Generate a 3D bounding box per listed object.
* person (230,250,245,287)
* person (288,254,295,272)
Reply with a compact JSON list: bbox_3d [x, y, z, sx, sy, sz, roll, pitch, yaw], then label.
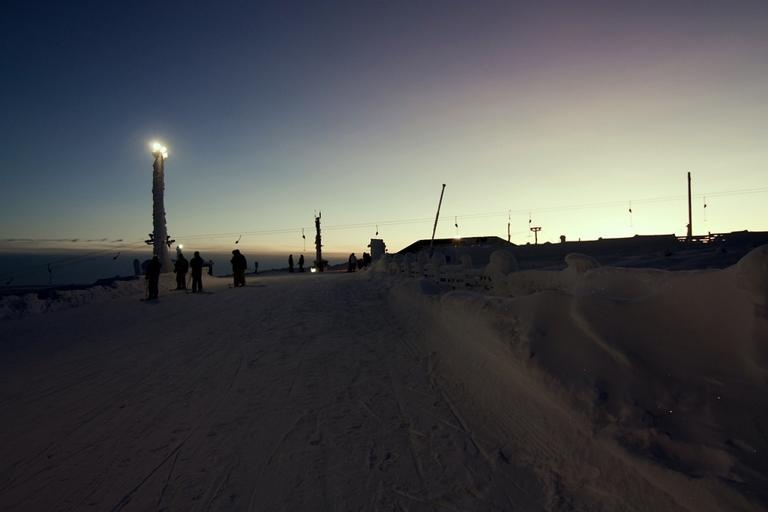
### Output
[{"bbox_3d":[-6.617,0.569,24.122,0.569,1.659,1.736,-2,3,-15],"label":"person"},{"bbox_3d":[-6.986,0.627,39.570,0.271,1.124,1.920,-2,3,-14],"label":"person"}]
